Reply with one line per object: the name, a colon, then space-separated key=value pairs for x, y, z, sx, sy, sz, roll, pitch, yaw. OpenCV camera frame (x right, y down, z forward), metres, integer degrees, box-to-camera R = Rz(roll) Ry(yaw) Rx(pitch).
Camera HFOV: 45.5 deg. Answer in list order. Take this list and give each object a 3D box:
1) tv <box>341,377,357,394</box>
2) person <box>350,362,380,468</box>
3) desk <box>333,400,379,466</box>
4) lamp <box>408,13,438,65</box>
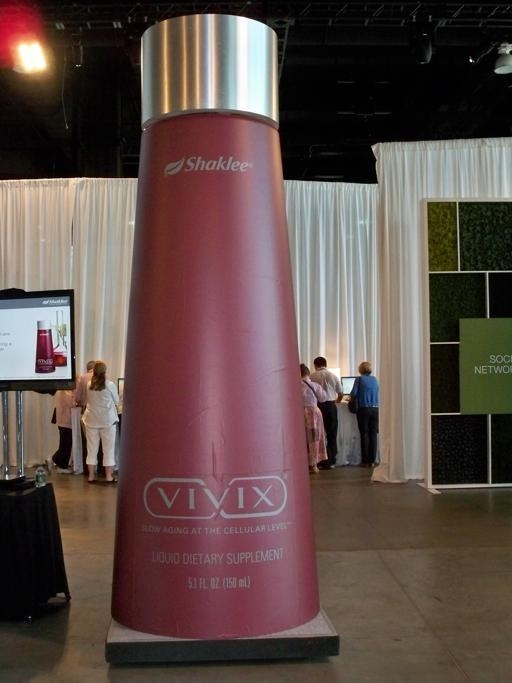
tv: x=1.118 y=0.538 z=7.366 sx=0.157 sy=0.259 sz=0.024 roll=5 pitch=-26 yaw=-3
person: x=1.249 y=0.914 z=6.991 sx=0.331 sy=1.048 sz=0.442 roll=-2 pitch=-4 yaw=26
desk: x=1.184 y=1.101 z=7.702 sx=0.511 sy=1.179 sz=0.658 roll=-1 pitch=3 yaw=-5
lamp: x=1.487 y=-2.697 z=5.503 sx=0.163 sy=0.431 sz=0.108 roll=3 pitch=12 yaw=9
